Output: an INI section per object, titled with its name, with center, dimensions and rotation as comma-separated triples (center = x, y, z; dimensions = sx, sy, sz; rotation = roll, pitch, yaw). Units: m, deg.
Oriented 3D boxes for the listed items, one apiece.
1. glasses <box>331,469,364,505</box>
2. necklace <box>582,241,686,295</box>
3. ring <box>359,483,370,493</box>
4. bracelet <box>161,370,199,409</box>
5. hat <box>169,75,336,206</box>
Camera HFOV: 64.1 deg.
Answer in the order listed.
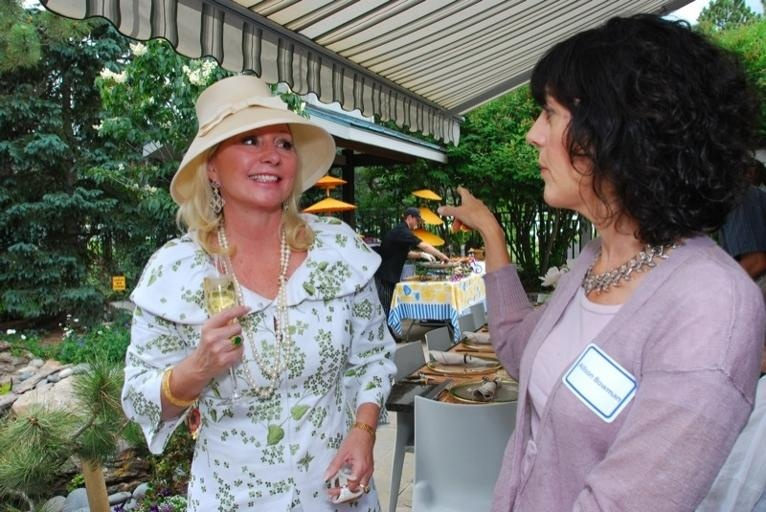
[glasses]
center = -0.136, 0.827, 2.229
dimensions = 0.135, 0.114, 0.059
rotation = -19, 3, 2
[necklace]
center = 0.731, 0.042, 1.846
dimensions = 0.179, 0.029, 0.166
rotation = -52, 11, 2
[ring]
center = -0.064, 0.852, 2.228
dimensions = 0.044, 0.028, 0.037
rotation = -3, 6, 17
[bracelet]
center = -0.743, 0.483, 2.204
dimensions = 0.033, 0.120, 0.129
rotation = -17, 40, 14
[hat]
center = -0.651, -0.544, 2.475
dimensions = 0.511, 0.300, 0.574
rotation = -22, 21, -30
